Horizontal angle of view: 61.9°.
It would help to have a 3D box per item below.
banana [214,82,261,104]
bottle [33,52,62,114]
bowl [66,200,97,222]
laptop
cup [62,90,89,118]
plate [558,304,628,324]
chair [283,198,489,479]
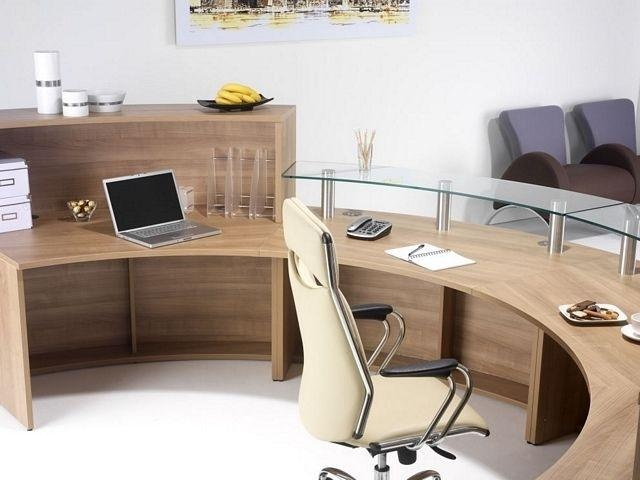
[{"bbox_3d":[-0.491,-0.886,3.234,0.250,0.080,0.165,-3,17,-8],"label":"banana"},{"bbox_3d":[-1.526,-0.884,3.000,0.172,0.344,0.221,-11,21,-21],"label":"bottle"},{"bbox_3d":[-1.402,-0.171,3.141,0.165,0.086,0.146,0,5,-3],"label":"bowl"},{"bbox_3d":[-0.879,-0.138,2.950,0.581,0.312,0.563,-14,23,-41],"label":"laptop"},{"bbox_3d":[-1.328,-0.740,2.938,0.174,0.144,0.167,0,5,0],"label":"cup"},{"bbox_3d":[1.050,0.286,2.064,0.232,0.050,0.120,-3,17,-2],"label":"plate"},{"bbox_3d":[0.243,0.514,2.004,0.659,1.374,0.550,-4,20,-3],"label":"chair"}]
